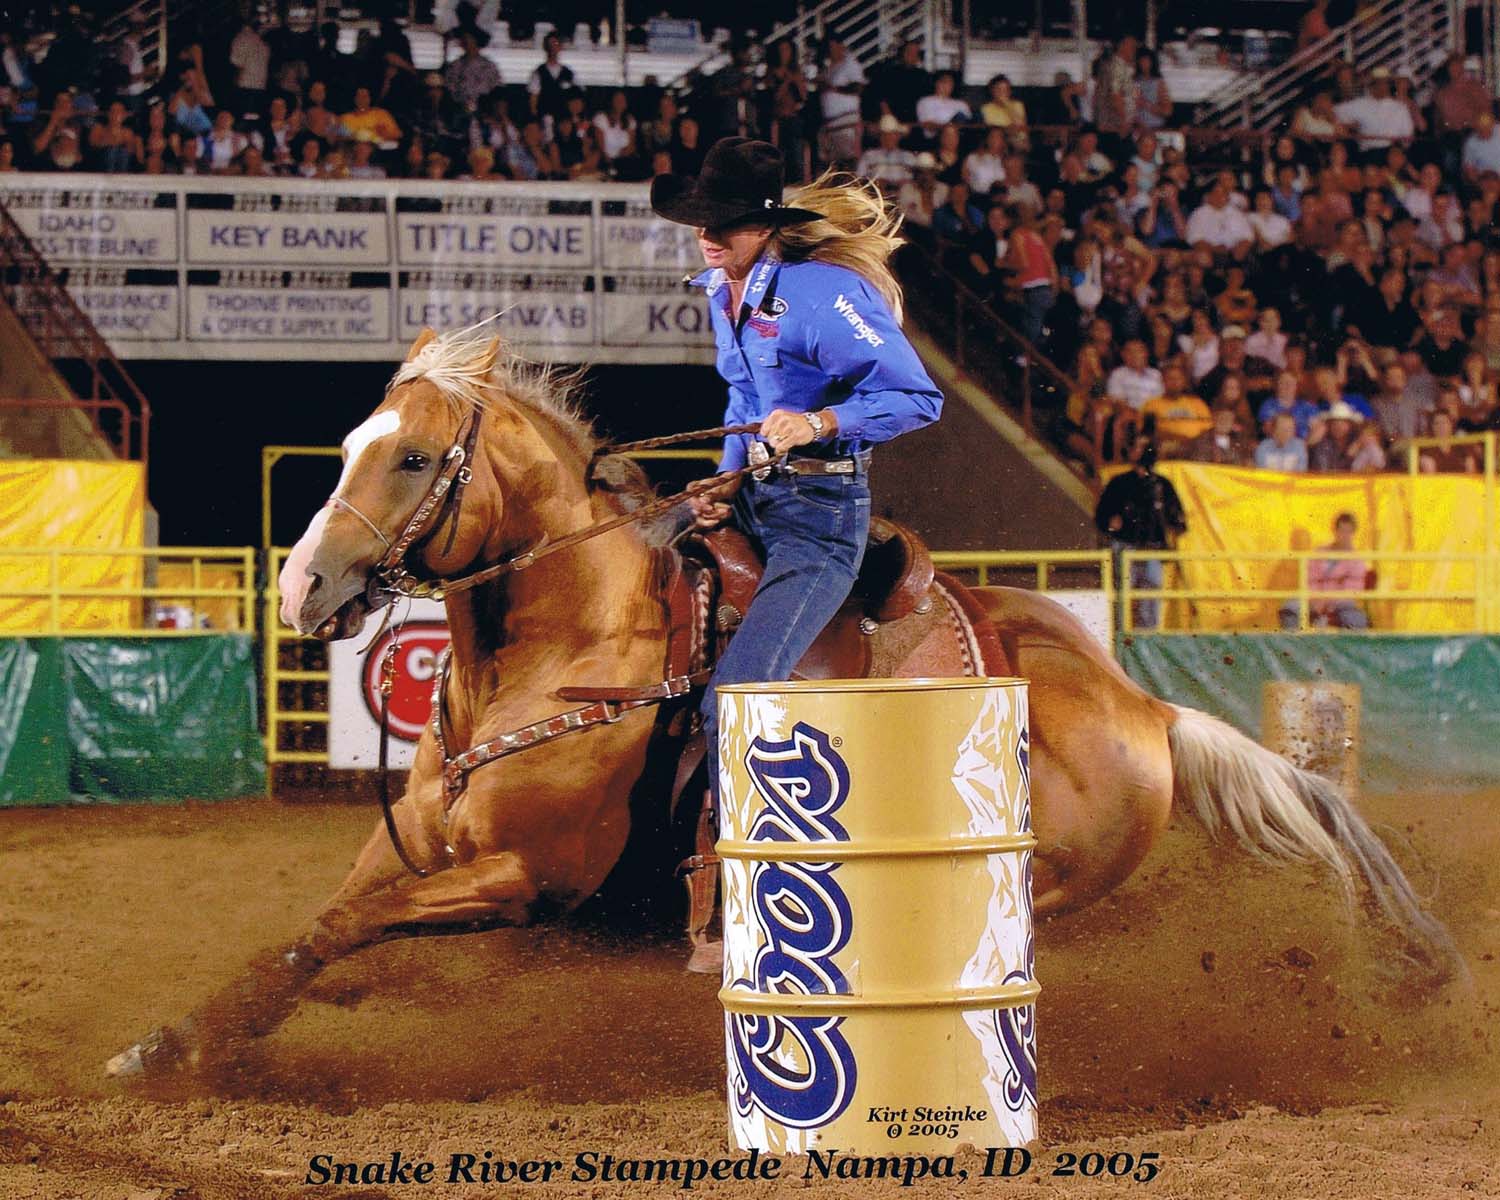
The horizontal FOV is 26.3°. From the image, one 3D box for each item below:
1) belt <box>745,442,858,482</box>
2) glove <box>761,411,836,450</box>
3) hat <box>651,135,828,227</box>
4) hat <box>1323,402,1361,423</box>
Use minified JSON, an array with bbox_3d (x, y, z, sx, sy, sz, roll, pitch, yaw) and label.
[{"bbox_3d":[0.291,-0.732,17.012,0.384,0.123,0.258,2,-3,4],"label":"belt"},{"bbox_3d":[0.258,-0.885,16.466,0.298,0.107,0.210,-4,3,-10],"label":"glove"},{"bbox_3d":[-0.004,-2.199,16.916,0.669,0.250,0.539,-8,22,-39],"label":"hat"},{"bbox_3d":[4.622,-1.477,24.895,0.223,0.074,0.213,2,-11,19],"label":"hat"}]
